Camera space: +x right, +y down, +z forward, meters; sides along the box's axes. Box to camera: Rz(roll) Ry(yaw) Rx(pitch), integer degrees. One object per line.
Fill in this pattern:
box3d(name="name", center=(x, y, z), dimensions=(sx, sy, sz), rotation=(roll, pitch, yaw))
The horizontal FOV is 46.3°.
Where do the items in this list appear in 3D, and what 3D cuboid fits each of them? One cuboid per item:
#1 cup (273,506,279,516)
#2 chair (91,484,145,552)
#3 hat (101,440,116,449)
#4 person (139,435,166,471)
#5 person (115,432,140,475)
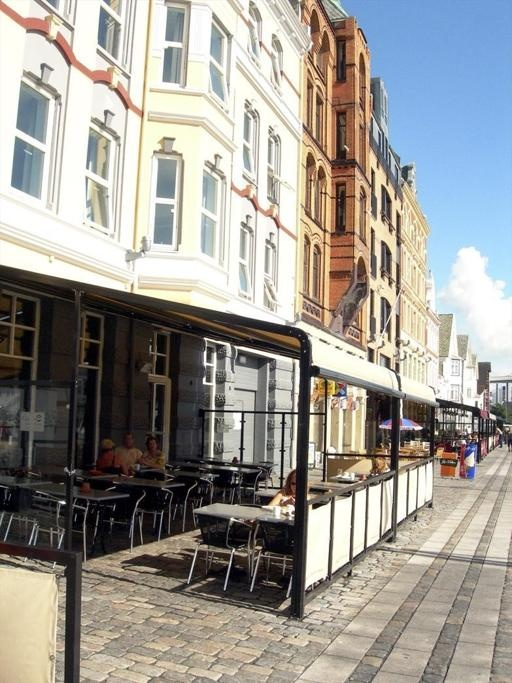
box3d(name="cup", center=(0.219, 1.801, 6.370), dimensions=(0.058, 0.095, 0.112), rotation=(2, -9, 4))
box3d(name="chair", center=(-1.975, 2.484, 8.505), dimensions=(0.747, 1.099, 0.775), rotation=(-5, -20, 22))
box3d(name="hat", center=(-2.611, 1.828, 10.541), dimensions=(0.166, 0.213, 0.161), rotation=(0, 36, -42))
box3d(name="person", center=(-2.079, 2.263, 12.111), dimensions=(0.495, 0.784, 0.672), rotation=(2, -16, -8))
box3d(name="person", center=(-2.469, 2.134, 11.416), dimensions=(0.425, 1.179, 0.378), rotation=(1, -30, -8))
